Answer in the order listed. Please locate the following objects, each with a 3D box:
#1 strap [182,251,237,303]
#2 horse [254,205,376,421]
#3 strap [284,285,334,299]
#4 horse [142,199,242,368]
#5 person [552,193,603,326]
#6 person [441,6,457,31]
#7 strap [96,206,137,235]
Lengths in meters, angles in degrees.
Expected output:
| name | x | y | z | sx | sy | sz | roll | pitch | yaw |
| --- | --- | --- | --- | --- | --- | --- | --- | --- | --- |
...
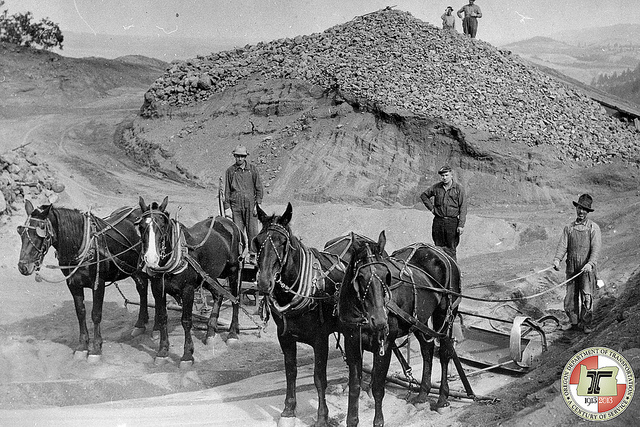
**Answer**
| name | x | y | z | sx | sy | sz | roll | pitch | yaw |
| --- | --- | --- | --- | --- | --- | --- | --- | --- | --- |
| strap | -2.257 | 1.278 | 13.953 | 0.256 | 1.805 | 0.260 | -33 | 26 | 46 |
| horse | -0.263 | 1.663 | 11.633 | 1.763 | 3.647 | 1.457 | -3 | 17 | -21 |
| strap | -0.197 | 1.371 | 11.337 | 0.983 | 0.128 | 0.096 | 14 | -12 | -6 |
| horse | -2.680 | 1.391 | 14.234 | 1.287 | 3.356 | 4.560 | 1 | 3 | 14 |
| person | 5.395 | 1.004 | 13.967 | 0.868 | 2.785 | 0.870 | 15 | 20 | 35 |
| person | 6.211 | -9.295 | 32.209 | 0.621 | 1.032 | 1.299 | 5 | 14 | 6 |
| strap | -4.138 | 0.134 | 13.841 | 0.159 | 0.060 | 1.163 | 34 | 35 | 9 |
